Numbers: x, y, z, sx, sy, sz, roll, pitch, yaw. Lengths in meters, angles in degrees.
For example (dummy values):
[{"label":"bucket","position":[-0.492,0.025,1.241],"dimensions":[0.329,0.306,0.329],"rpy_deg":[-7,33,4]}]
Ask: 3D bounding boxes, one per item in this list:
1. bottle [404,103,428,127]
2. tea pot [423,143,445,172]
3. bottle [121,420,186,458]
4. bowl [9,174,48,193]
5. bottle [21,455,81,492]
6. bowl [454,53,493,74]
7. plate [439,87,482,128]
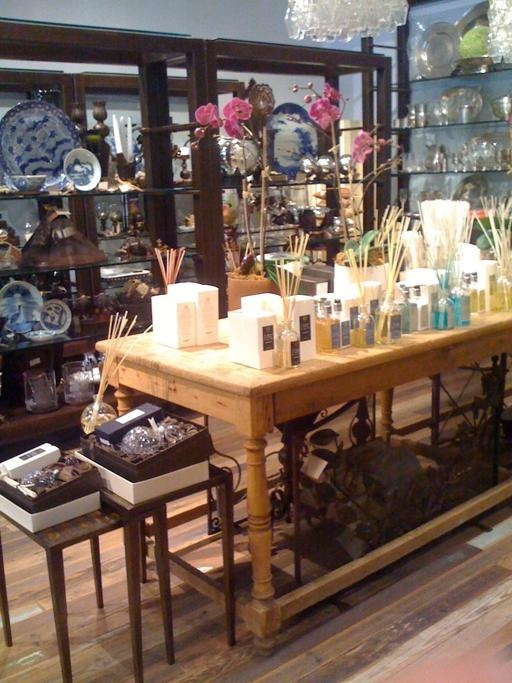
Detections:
[{"label":"bottle","position":[1.519,-2.143,5.540],"dimensions":[0.221,0.227,0.228],"rpy_deg":[-2,6,-10]},{"label":"tea pot","position":[1.673,-1.706,5.366],"dimensions":[0.207,0.235,0.254],"rpy_deg":[-8,15,-24]},{"label":"bottle","position":[-0.236,0.226,1.365],"dimensions":[0.117,0.046,0.084],"rpy_deg":[-24,23,-38]},{"label":"bowl","position":[-1.134,-0.770,2.870],"dimensions":[0.116,0.052,0.113],"rpy_deg":[-2,10,0]},{"label":"bottle","position":[-0.448,0.290,1.278],"dimensions":[0.079,0.024,0.057],"rpy_deg":[-26,18,-34]},{"label":"bowl","position":[1.925,-2.430,5.075],"dimensions":[0.206,0.079,0.180],"rpy_deg":[-2,11,27]},{"label":"plate","position":[1.871,-2.125,5.288],"dimensions":[0.361,0.333,0.346],"rpy_deg":[7,21,27]}]
